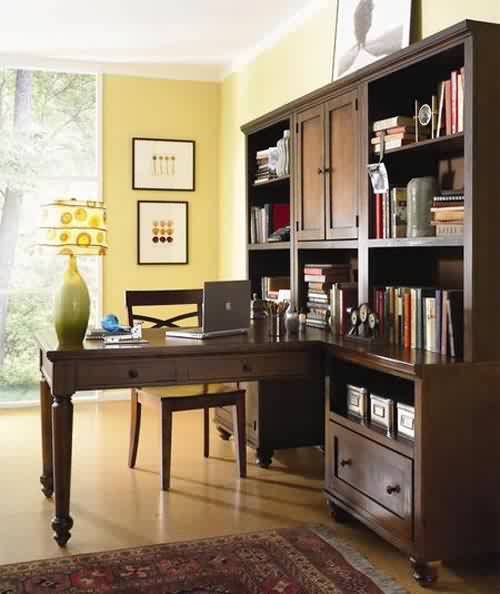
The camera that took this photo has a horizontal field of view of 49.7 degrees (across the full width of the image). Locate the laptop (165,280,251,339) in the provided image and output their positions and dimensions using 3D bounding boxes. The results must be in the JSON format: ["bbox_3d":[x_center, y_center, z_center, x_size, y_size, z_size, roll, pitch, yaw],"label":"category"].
[{"bbox_3d":[-0.170,0.048,2.347,0.227,0.235,0.319,3,5,36],"label":"laptop"}]

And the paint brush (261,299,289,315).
[{"bbox_3d":[0.127,0.052,2.323,0.098,0.076,0.086,1,-3,-21],"label":"paint brush"}]

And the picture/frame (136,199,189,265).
[{"bbox_3d":[-0.791,-0.560,4.656,0.514,0.715,0.025,-3,8,-21],"label":"picture/frame"}]

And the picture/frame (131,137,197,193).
[{"bbox_3d":[-0.779,-1.127,4.638,0.475,0.422,0.042,0,0,-23],"label":"picture/frame"}]

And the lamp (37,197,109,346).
[{"bbox_3d":[-0.725,-0.112,2.169,0.282,0.602,0.360,1,-2,-21],"label":"lamp"}]

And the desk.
[{"bbox_3d":[-0.294,0.543,2.235,1.012,0.646,0.607,-1,-9,-18],"label":"desk"}]
